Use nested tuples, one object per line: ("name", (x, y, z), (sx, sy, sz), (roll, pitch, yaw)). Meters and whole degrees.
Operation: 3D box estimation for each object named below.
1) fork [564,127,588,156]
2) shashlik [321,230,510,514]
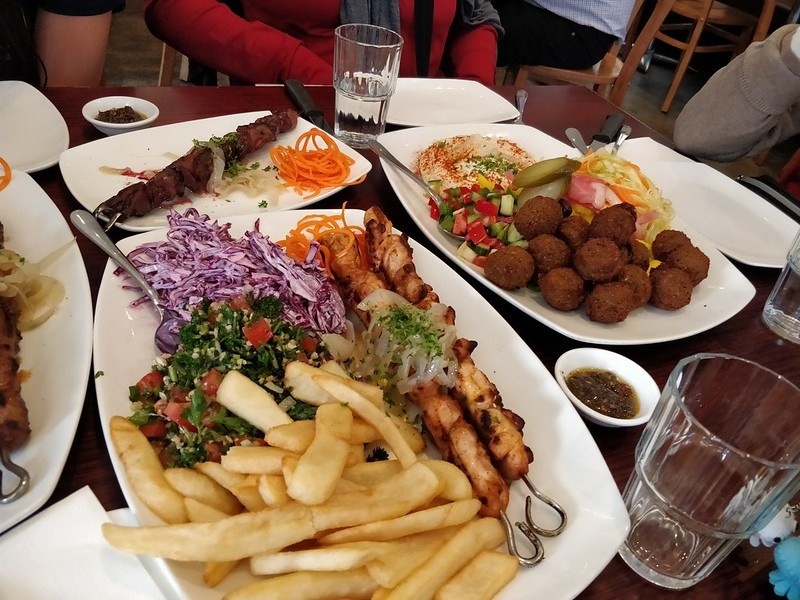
("fork", (1.124, -1.024, 3.860), (0.092, 0.045, 0.312), (-17, 30, 4))
("shashlik", (0.043, 0.287, 2.264), (0.182, 0.193, 1.143), (-13, 62, -36))
